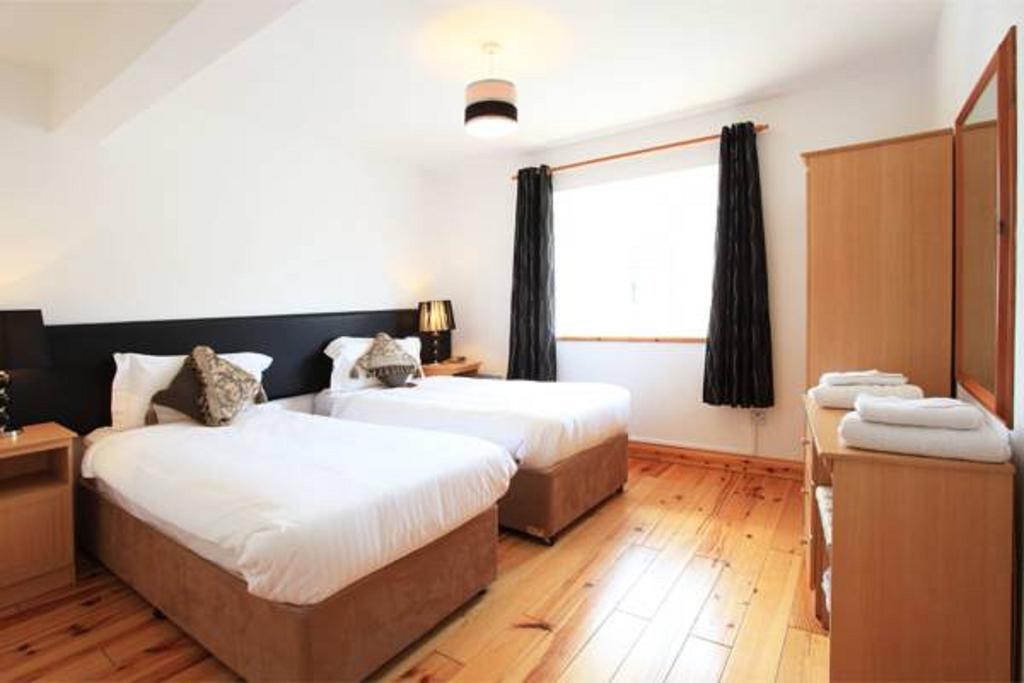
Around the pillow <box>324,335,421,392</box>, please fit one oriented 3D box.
[{"bbox_3d":[-1.160,0.187,5.530,0.608,0.522,0.179,1,-21,-36],"label":"pillow"}]

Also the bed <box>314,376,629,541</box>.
[{"bbox_3d":[-0.332,0.825,5.371,2.245,0.804,1.716,3,3,31],"label":"bed"}]

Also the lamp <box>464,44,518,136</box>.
[{"bbox_3d":[-0.142,-1.827,4.623,0.343,0.517,0.327,-1,5,0],"label":"lamp"}]

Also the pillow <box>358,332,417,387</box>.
[{"bbox_3d":[-1.089,0.081,5.642,0.465,0.136,0.472,-4,49,-35],"label":"pillow"}]

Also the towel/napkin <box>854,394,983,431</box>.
[{"bbox_3d":[1.928,0.343,3.111,0.273,0.091,0.285,0,0,2],"label":"towel/napkin"}]

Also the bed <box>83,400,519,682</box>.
[{"bbox_3d":[-1.394,0.963,3.703,1.991,0.788,1.271,0,0,34],"label":"bed"}]

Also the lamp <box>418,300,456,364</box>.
[{"bbox_3d":[-0.759,-0.077,6.542,0.363,0.598,0.366,-5,-5,22],"label":"lamp"}]
